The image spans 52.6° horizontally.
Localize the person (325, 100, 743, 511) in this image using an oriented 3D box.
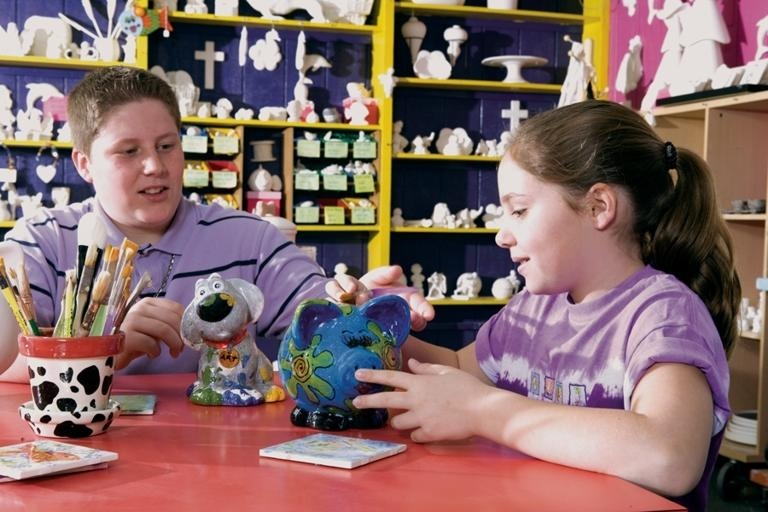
[{"bbox_3d":[0.374,0.084,1.780,0.703,0.978,0.741,-2,-11,21],"label":"person"}]
